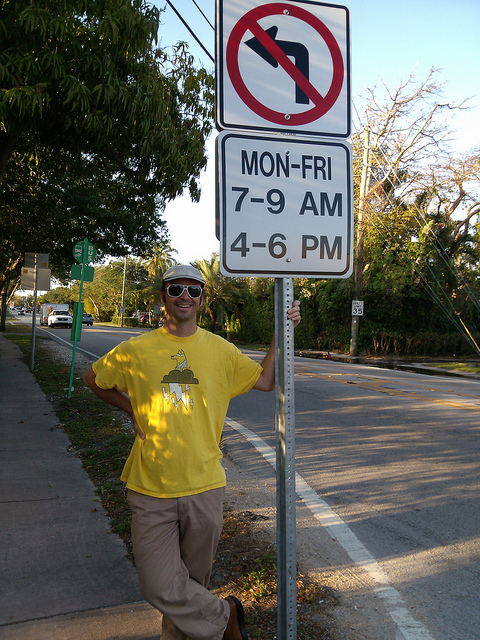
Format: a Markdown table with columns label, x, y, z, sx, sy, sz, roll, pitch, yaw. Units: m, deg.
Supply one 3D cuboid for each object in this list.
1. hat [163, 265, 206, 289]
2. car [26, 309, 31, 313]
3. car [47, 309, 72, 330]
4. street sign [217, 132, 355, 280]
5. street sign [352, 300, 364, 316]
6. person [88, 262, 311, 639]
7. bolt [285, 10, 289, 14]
| label | x | y | z | sx | sy | sz | roll | pitch | yaw |
| --- | --- | --- | --- | --- | --- | --- | --- | --- | --- |
| hat | -0.239 | -0.202 | 2.227 | 0.186 | 0.099 | 0.313 | 4 | 0 | -19 |
| car | -62.517 | -2.730 | 150.049 | 1.301 | 0.752 | 2.073 | -1 | -3 | 7 |
| car | -17.418 | -0.108 | 49.324 | 1.799 | 1.951 | 2.790 | 4 | 0 | -29 |
| street sign | 0.152 | -0.422 | 1.870 | 0.584 | 0.678 | 0.100 | -1 | 0 | -24 |
| street sign | 5.654 | -0.578 | 24.428 | 0.579 | 0.804 | 0.097 | -3 | 11 | -7 |
| person | -0.215 | 0.479 | 2.073 | 0.709 | 1.480 | 0.430 | 3 | 0 | -15 |
| bolt | 0.176 | -1.179 | 1.939 | 0.003 | 0.015 | 0.013 | -1 | 4 | -36 |
